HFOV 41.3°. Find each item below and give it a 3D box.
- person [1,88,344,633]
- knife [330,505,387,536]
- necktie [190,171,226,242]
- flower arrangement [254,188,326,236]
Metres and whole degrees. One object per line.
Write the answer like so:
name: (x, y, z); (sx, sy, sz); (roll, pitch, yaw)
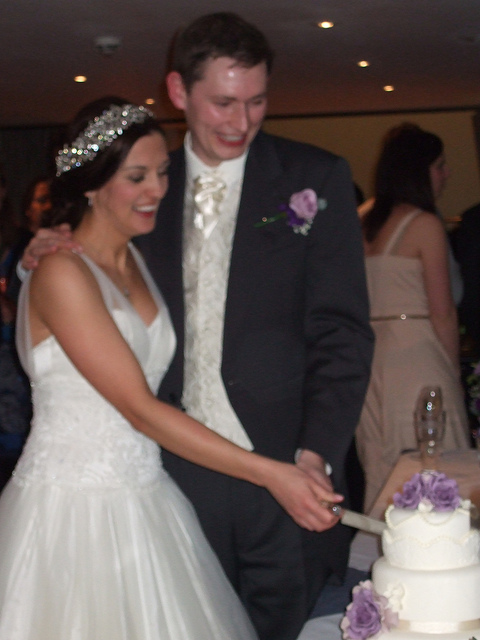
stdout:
person: (-0.275, 0.050, 1.810); (0.872, 1.345, 1.061); (-1, 10, -5)
knife: (0.227, 0.401, 1.289); (0.139, 0.030, 0.022); (11, -25, 26)
necktie: (-0.089, -0.344, 1.893); (0.109, 0.215, 0.036); (20, 20, 22)
flower arrangement: (0.146, -0.307, 1.792); (0.079, 0.202, 0.115); (27, 34, -16)
